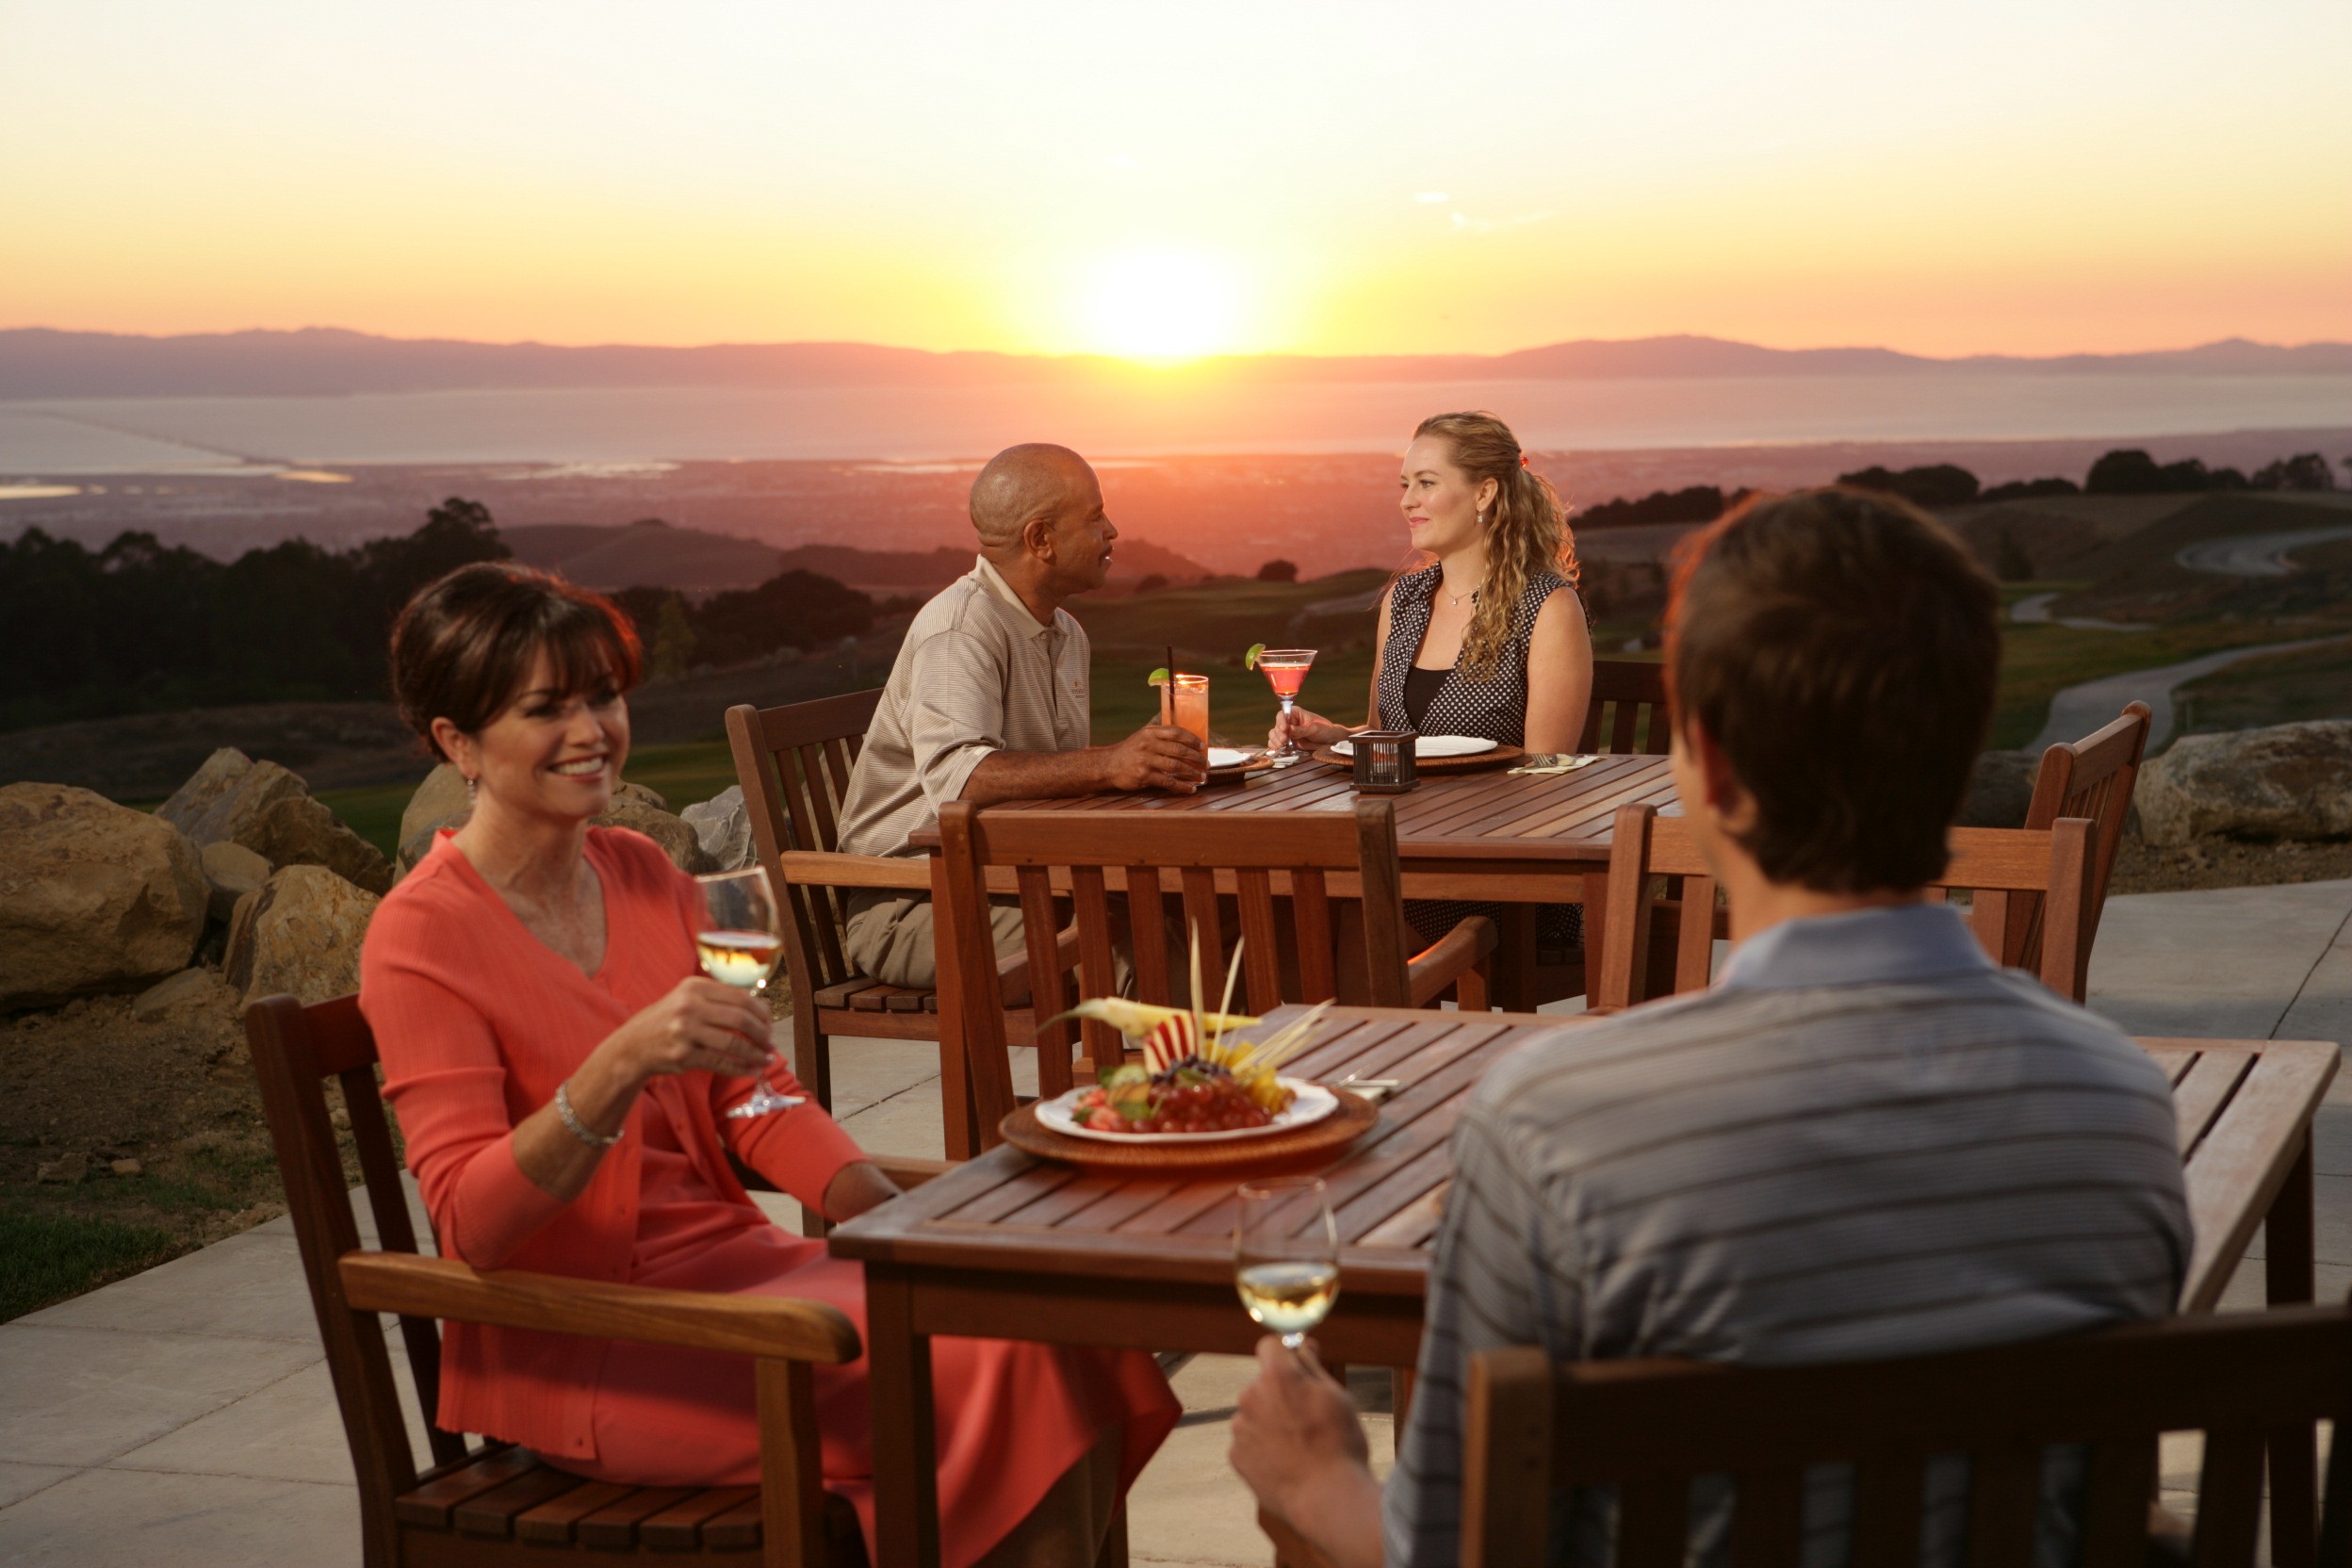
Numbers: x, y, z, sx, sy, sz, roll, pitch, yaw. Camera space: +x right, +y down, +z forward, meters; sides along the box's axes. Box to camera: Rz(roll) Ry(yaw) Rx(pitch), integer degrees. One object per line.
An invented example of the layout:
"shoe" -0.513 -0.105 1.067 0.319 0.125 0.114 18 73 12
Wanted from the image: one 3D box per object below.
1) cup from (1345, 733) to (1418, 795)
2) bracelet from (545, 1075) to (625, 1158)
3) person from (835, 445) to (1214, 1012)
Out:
"cup" 0.593 -0.054 4.373 0.188 0.141 0.171 -1 5 0
"bracelet" -0.779 0.446 2.076 0.101 0.062 0.095 4 7 -12
"person" -0.418 -0.061 4.960 1.266 1.838 1.088 1 15 11
